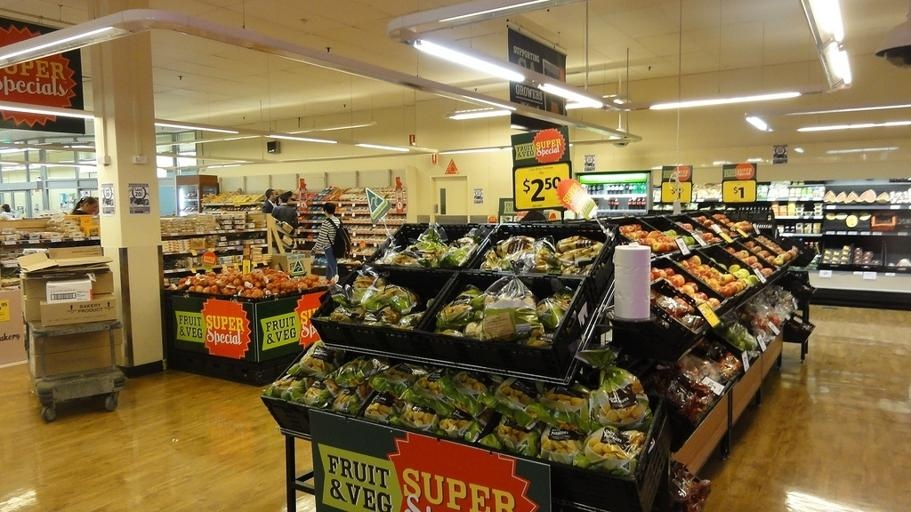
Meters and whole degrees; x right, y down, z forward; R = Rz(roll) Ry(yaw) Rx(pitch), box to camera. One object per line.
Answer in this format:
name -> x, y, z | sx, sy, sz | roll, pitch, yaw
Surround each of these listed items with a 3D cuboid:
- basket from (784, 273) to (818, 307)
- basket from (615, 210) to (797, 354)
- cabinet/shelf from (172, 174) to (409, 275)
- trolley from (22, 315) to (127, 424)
basket -> 5.390, 0.513, 8.533 | 0.514, 0.453, 0.329 | -10, -12, -37
basket -> 2.952, 0.314, 6.282 | 2.309, 0.492, 0.976 | -22, 41, -40
cabinet/shelf -> -4.474, -0.921, 14.580 | 6.272, 2.946, 1.818 | 2, 3, 14
trolley -> -5.611, 1.490, 7.875 | 1.146, 1.030, 1.842 | -7, 7, -41
